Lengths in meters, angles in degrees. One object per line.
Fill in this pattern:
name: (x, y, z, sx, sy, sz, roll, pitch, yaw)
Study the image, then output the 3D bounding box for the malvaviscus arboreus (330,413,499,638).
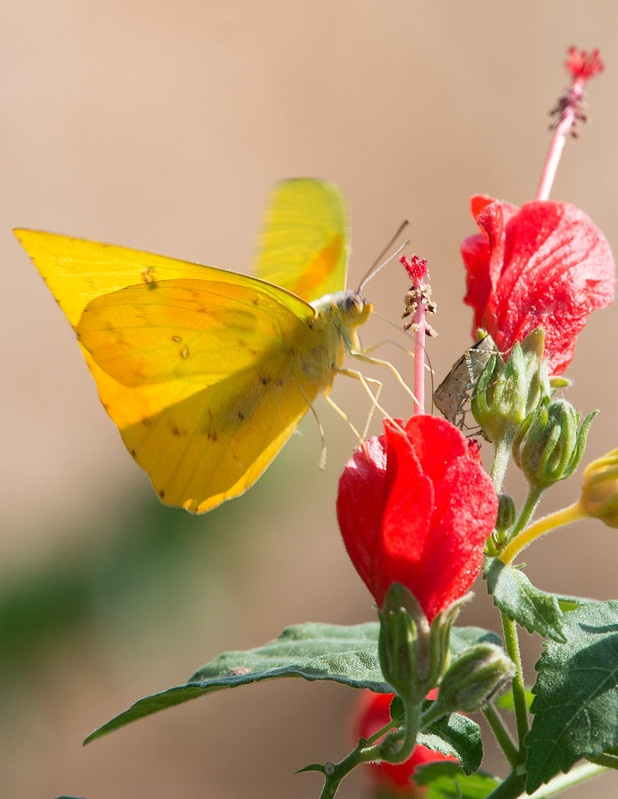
malvaviscus arboreus: (0.211, 0.204, 1.982, 0.349, 0.435, 0.392, -9, 26, 7)
